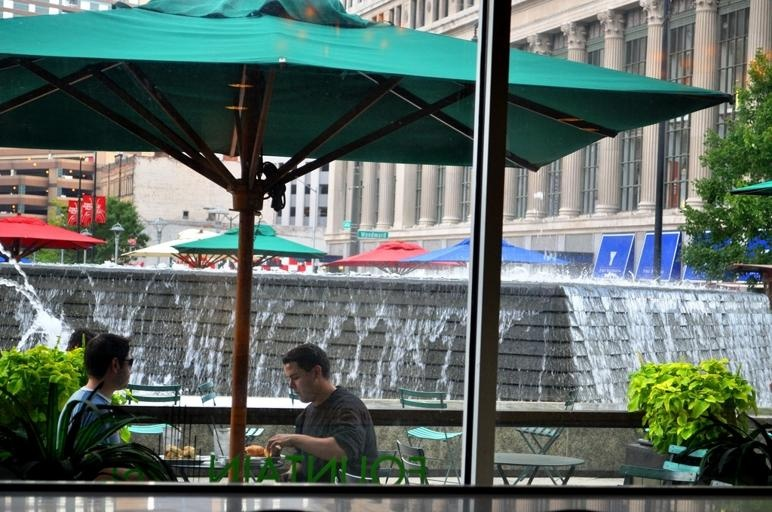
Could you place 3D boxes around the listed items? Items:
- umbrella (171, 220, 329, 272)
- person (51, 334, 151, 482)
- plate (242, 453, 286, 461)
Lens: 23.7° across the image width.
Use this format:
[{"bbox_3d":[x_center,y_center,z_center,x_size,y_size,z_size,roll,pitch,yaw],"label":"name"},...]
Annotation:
[{"bbox_3d":[-1.301,-0.048,16.965,0.738,0.252,0.700,5,1,-38],"label":"umbrella"},{"bbox_3d":[-2.399,1.291,15.741,0.696,1.250,0.400,1,-5,-10],"label":"person"},{"bbox_3d":[-1.042,1.758,15.888,0.396,0.067,0.349,1,-5,-22],"label":"plate"}]
